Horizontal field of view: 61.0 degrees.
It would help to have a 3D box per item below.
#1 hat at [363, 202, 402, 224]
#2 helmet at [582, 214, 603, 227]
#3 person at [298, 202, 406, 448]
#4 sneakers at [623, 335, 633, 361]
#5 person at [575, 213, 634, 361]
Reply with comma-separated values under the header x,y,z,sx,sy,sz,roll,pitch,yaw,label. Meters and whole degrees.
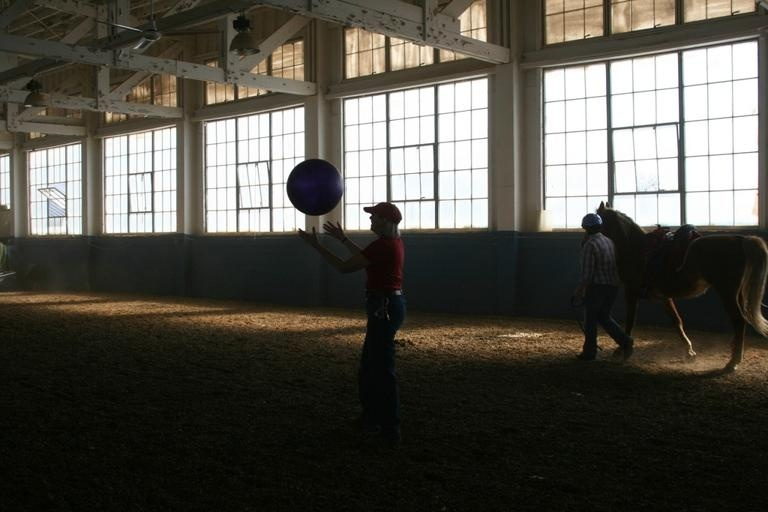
x,y,z,sx,sy,sz,roll,pitch,yaw,label
-0.011,-0.431,6.379,0.328,0.210,0.327,0,9,1,hat
2.784,-0.476,8.790,0.178,0.198,0.242,2,19,-17,helmet
-0.144,0.628,6.279,0.674,2.264,0.468,0,8,2,person
3.308,1.244,8.804,0.120,0.332,0.142,1,-5,5,sneakers
2.877,0.576,8.623,0.749,1.712,0.373,1,8,9,person
